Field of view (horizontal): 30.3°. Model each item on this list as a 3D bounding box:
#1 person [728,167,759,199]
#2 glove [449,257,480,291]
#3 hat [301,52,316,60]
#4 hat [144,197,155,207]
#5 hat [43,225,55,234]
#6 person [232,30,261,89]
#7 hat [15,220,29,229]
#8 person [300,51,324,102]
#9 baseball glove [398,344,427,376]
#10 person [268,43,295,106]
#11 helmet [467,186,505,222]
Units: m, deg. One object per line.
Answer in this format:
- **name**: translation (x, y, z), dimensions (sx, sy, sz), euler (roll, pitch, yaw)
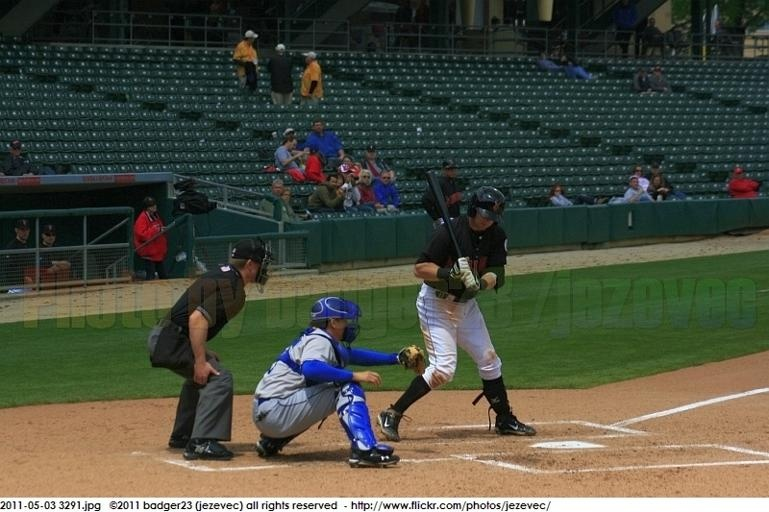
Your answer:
- **person**: translation (9.133, -1.822, 36.211), dimensions (0.747, 0.750, 0.578), euler (-2, 4, -3)
- **glove**: translation (1.306, 0.325, 22.722), dimensions (0.307, 0.565, 0.404), euler (3, 6, 42)
- **hat**: translation (-1.872, -5.098, 35.997), dimensions (0.322, 0.160, 0.486), euler (1, 14, -24)
- **hat**: translation (-5.066, -1.131, 30.698), dimensions (0.194, 0.215, 0.233), euler (-6, 15, -13)
- **hat**: translation (-6.993, -0.507, 29.610), dimensions (0.234, 0.212, 0.239), euler (-3, 4, -18)
- **person**: translation (-3.502, -4.869, 35.679), dimensions (0.566, 1.522, 0.729), euler (-2, 5, -4)
- **hat**: translation (-7.505, -0.639, 29.435), dimensions (0.244, 0.181, 0.271), euler (-3, 4, -17)
- **person**: translation (-1.864, -4.527, 35.948), dimensions (0.523, 1.238, 0.472), euler (-2, 5, -6)
- **baseball glove**: translation (0.478, 1.712, 22.768), dimensions (0.375, 0.222, 0.497), euler (0, -33, 21)
- **person**: translation (-2.619, -4.530, 35.662), dimensions (0.607, 1.498, 0.940), euler (-2, 5, -4)
- **helmet**: translation (1.627, -0.790, 23.005), dimensions (0.457, 0.505, 0.604), euler (19, -17, -9)
